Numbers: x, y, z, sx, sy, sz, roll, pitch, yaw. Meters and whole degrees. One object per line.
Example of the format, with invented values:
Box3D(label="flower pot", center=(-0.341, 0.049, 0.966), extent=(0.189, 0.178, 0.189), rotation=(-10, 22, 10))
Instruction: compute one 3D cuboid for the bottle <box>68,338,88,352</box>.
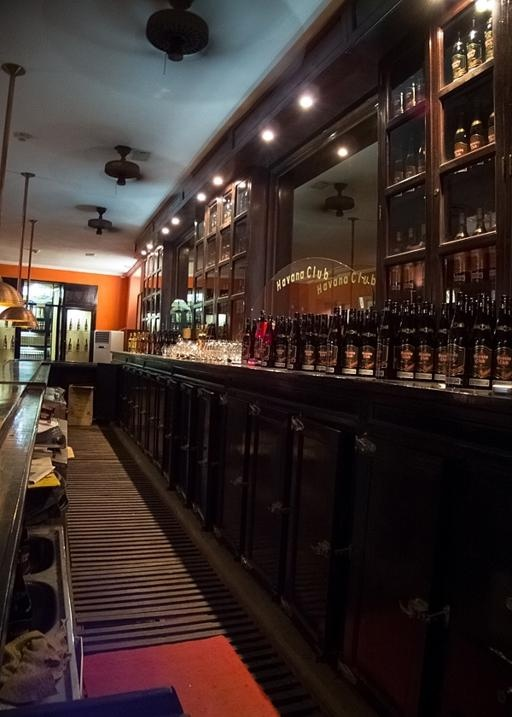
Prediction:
Box3D(label="bottle", center=(-4.661, -0.366, 13.008), extent=(0.302, 0.330, 0.083), rotation=(3, -3, -23))

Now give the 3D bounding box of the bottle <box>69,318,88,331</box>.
Box3D(label="bottle", center=(-4.657, -0.918, 13.028), extent=(0.299, 0.322, 0.111), rotation=(1, 5, -23))

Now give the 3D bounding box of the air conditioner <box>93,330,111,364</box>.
Box3D(label="air conditioner", center=(-3.200, -0.280, 10.446), extent=(0.337, 0.688, 0.646), rotation=(4, -3, -18))

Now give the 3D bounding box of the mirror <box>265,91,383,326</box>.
Box3D(label="mirror", center=(0.508, -1.117, 3.605), extent=(0.177, 1.965, 1.553), rotation=(6, -5, -19))
